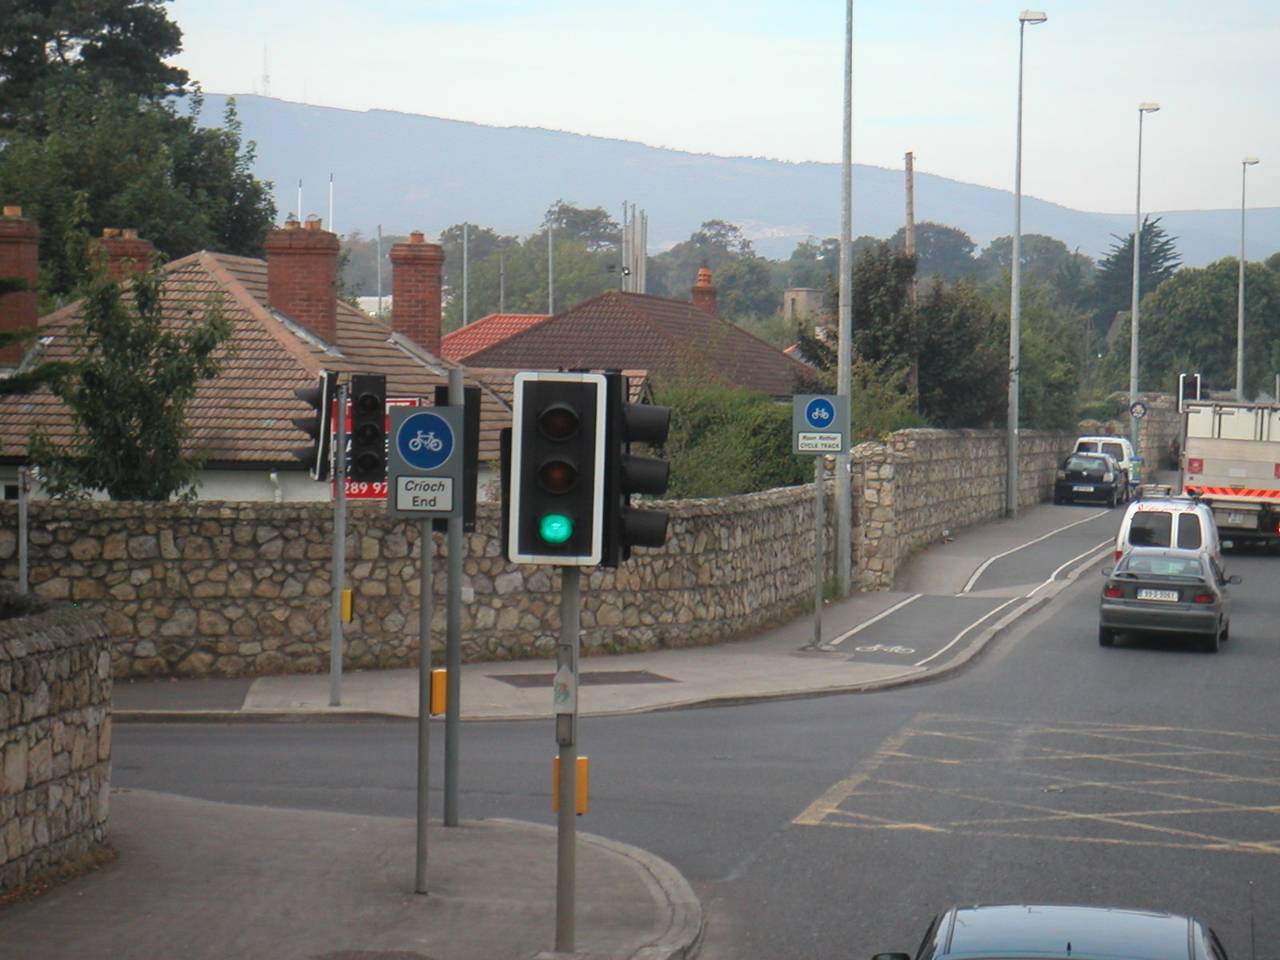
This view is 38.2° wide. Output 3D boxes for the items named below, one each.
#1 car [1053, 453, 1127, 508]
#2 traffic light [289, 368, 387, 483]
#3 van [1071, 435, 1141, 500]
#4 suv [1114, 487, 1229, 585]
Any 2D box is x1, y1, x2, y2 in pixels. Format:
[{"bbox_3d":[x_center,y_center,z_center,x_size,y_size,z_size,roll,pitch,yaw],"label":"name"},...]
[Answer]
[{"bbox_3d":[13.440,0.013,55.243,1.604,1.563,2.438,1,3,25],"label":"car"},{"bbox_3d":[-3.830,-0.679,23.882,0.810,1.422,1.440,-2,4,-35],"label":"traffic light"},{"bbox_3d":[14.668,-0.012,58.407,2.114,2.366,3.932,1,6,21],"label":"van"},{"bbox_3d":[10.178,1.343,35.481,1.463,1.980,3.289,-3,-1,15],"label":"suv"}]
